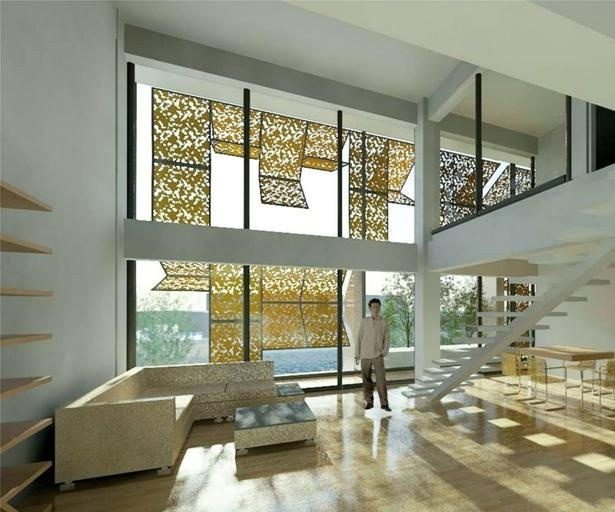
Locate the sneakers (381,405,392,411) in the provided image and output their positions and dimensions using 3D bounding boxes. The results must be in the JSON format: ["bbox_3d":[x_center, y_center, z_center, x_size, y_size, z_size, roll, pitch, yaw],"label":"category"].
[{"bbox_3d":[1.224,2.350,7.414,0.178,0.132,0.063,-9,-11,37],"label":"sneakers"}]

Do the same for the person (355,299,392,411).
[{"bbox_3d":[1.044,1.549,7.564,0.577,1.724,0.375,1,4,13],"label":"person"}]
